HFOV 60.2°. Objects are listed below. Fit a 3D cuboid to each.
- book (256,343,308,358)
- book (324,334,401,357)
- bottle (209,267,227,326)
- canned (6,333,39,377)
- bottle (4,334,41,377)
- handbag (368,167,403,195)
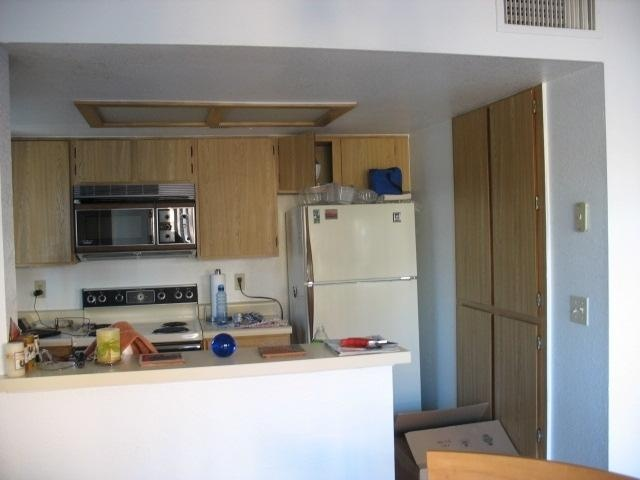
[{"bbox_3d":[-0.201,0.581,2.885,0.240,0.033,0.208,-5,1,-7],"label":"book"},{"bbox_3d":[0.222,0.549,2.930,0.379,0.095,0.286,-5,1,-5],"label":"book"},{"bbox_3d":[-0.812,0.446,4.427,0.139,0.437,0.379,-4,0,-11],"label":"bottle"},{"bbox_3d":[-1.415,0.555,2.621,0.160,0.161,0.093,-1,4,-34],"label":"canned"},{"bbox_3d":[-1.417,0.558,2.617,0.165,0.169,0.097,-1,4,-31],"label":"bottle"},{"bbox_3d":[0.539,-0.484,4.526,0.231,0.246,0.079,-4,-1,1],"label":"handbag"}]
